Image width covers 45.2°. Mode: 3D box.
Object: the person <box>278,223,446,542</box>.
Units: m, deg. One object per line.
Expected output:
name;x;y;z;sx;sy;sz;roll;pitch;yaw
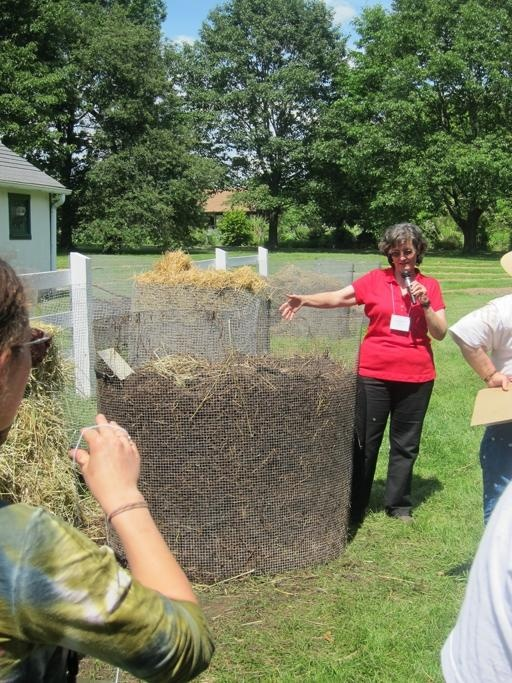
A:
person;0.770;0.268;4.218;0.867;2.114;0.361;-1;10;-11

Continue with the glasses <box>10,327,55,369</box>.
glasses;-0.415;0.010;1.205;0.097;0.028;0.088;-20;8;-1

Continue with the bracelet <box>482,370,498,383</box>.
bracelet;1.158;0.186;3.020;0.066;0.018;0.069;40;6;15

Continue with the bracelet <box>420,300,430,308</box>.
bracelet;1.086;-0.235;3.939;0.049;0.031;0.045;4;13;13
